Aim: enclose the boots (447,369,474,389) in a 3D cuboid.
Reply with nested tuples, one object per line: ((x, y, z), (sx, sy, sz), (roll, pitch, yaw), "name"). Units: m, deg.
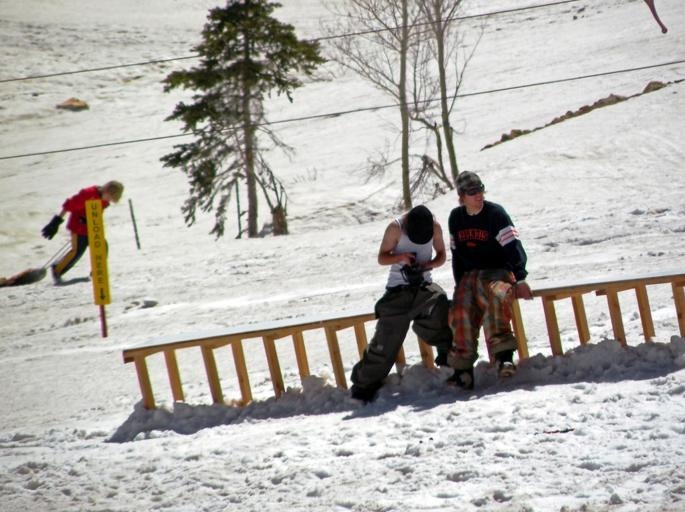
((4.586, 4.756, 49.735), (0.874, 0.654, 0.322), (3, -18, -4), "boots")
